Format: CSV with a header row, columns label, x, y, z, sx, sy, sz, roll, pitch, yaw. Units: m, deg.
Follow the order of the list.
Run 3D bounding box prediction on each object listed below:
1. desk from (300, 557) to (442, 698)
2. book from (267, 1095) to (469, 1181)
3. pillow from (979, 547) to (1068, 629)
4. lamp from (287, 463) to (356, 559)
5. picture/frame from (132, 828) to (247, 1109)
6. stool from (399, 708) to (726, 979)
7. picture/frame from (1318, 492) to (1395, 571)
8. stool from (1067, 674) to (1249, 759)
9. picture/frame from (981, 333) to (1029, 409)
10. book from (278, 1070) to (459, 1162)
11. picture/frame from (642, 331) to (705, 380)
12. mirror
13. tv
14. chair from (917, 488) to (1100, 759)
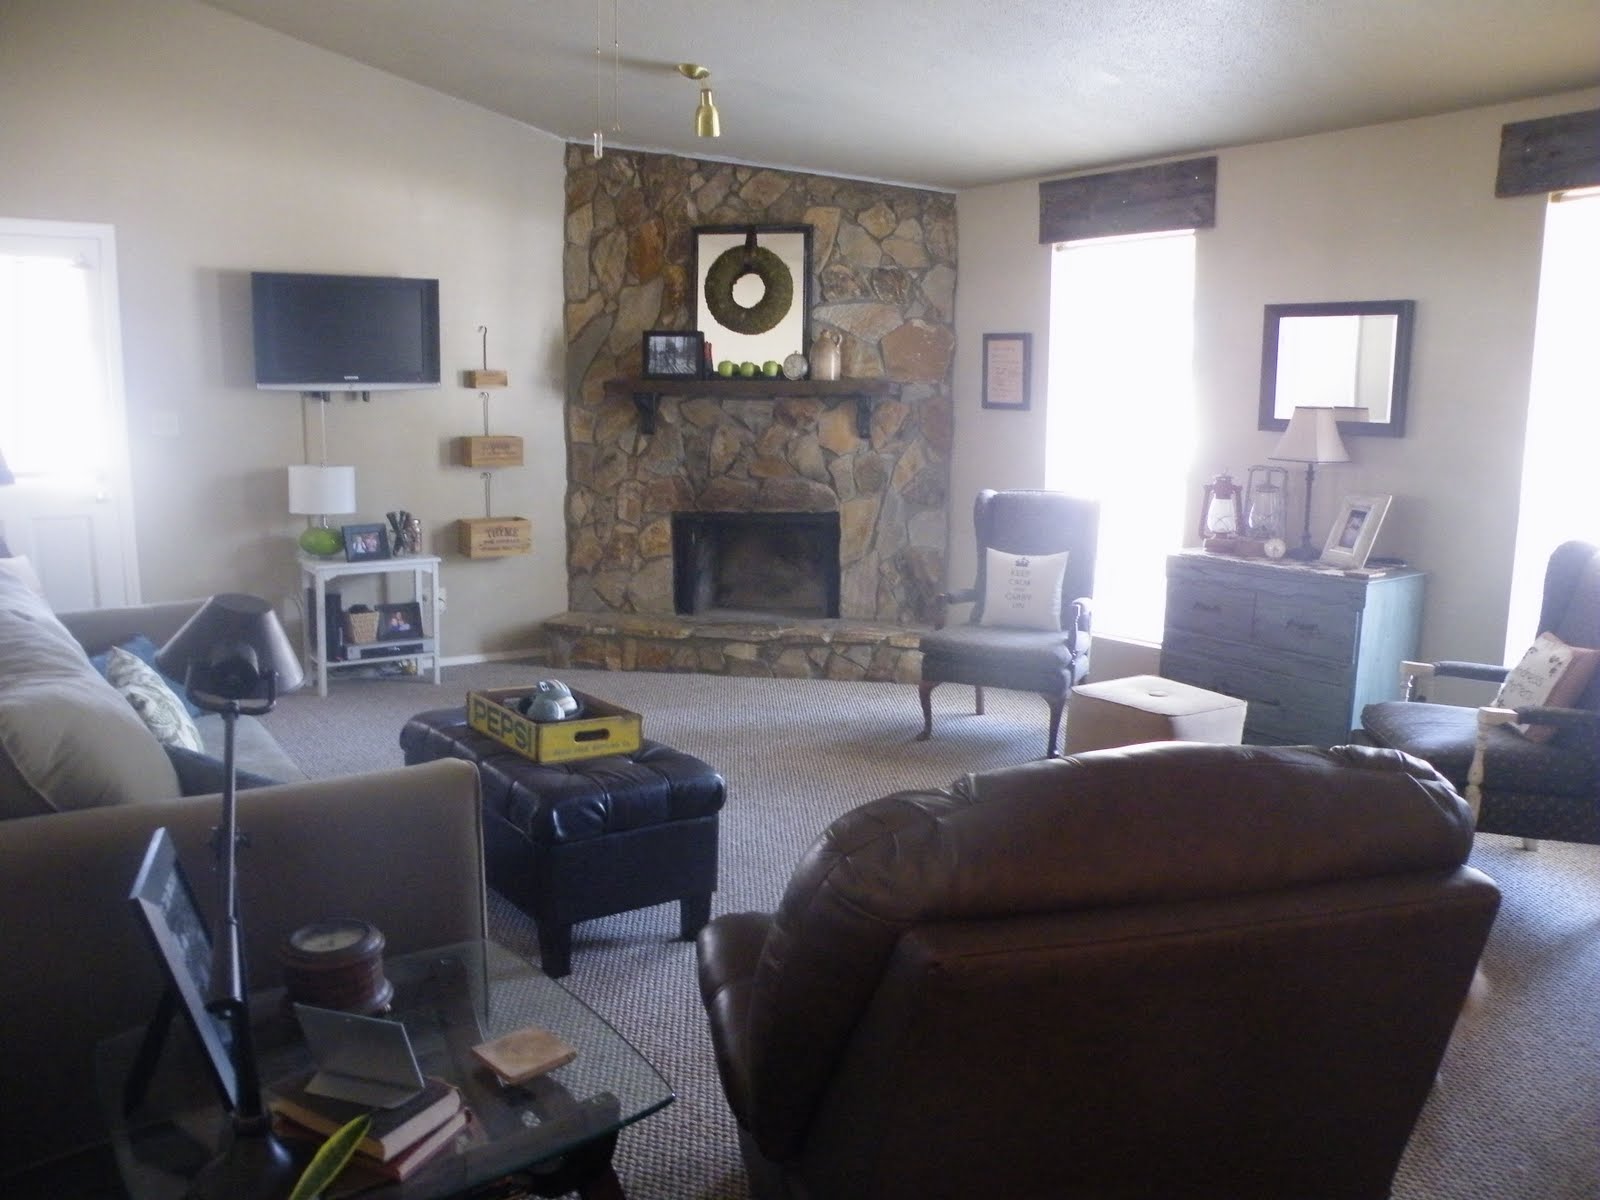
label,x,y,z,sx,sy,sz,roll,pitch,yaw
desk,-2.311,0.149,6.382,0.692,0.662,0.304,-4,6,-39
book,-0.711,0.864,1.980,0.160,0.040,0.165,5,6,32
pillow,1.111,-0.050,5.841,0.367,0.347,0.138,2,-21,31
lamp,-2.419,-0.428,6.080,0.312,0.469,0.311,1,0,-14
picture/frame,-1.050,0.648,2.048,0.090,0.295,0.405,-16,22,-11
stool,-0.678,0.516,3.691,0.606,0.529,1.047,-2,3,-31
picture/frame,2.473,-0.296,5.282,0.033,0.457,0.342,28,1,-13
stool,1.355,0.420,4.657,0.511,0.417,0.504,-1,11,-20
picture/frame,1.195,-1.330,6.892,0.035,0.483,0.404,-10,14,-42
book,-0.687,0.852,1.985,0.147,0.036,0.150,4,3,29
picture/frame,-0.713,-1.396,6.824,0.419,0.299,0.227,1,10,-1
mirror,2.444,-1.052,5.400,0.052,0.608,0.630,-8,13,-42
tv,-2.387,-1.397,6.193,0.684,0.459,0.088,-4,8,-33
chair,1.021,0.090,5.793,0.754,1.093,1.063,3,14,17
